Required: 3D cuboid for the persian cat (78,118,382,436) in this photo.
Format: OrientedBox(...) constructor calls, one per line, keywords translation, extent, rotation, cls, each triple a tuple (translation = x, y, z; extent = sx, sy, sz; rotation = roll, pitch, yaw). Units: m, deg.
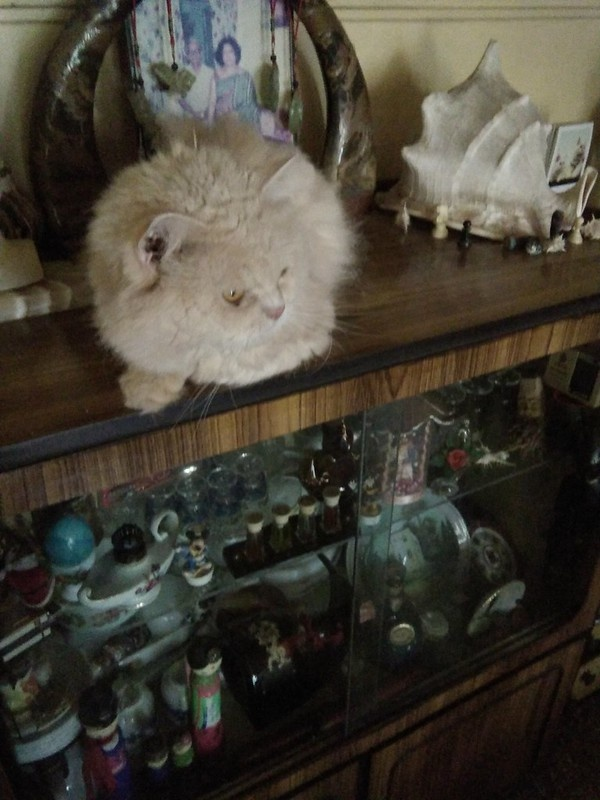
OrientedBox(translation=(-0.050, -0.105, 0.475), extent=(0.171, 0.144, 0.284), rotation=(-2, 48, -8), cls="persian cat")
